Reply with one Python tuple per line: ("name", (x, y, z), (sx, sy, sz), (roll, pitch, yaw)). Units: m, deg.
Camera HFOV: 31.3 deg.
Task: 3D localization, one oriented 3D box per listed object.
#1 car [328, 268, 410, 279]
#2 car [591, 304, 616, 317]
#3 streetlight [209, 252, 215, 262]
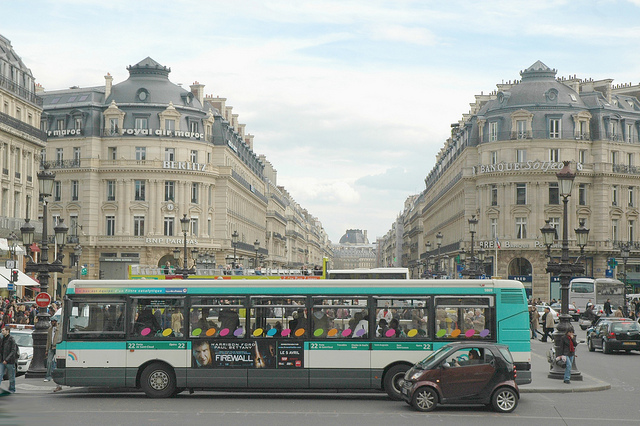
("car", (2.891, 3.549, 66.514), (4.082, 1.039, 1.074), (-1, 2, 5))
("car", (22.516, 7.835, 92.042), (1.416, 0.999, 3.043), (-1, 1, 13))
("streetlight", (-11.115, 4.601, 116.345), (0.650, 1.049, 0.636), (-4, -4, 10))
